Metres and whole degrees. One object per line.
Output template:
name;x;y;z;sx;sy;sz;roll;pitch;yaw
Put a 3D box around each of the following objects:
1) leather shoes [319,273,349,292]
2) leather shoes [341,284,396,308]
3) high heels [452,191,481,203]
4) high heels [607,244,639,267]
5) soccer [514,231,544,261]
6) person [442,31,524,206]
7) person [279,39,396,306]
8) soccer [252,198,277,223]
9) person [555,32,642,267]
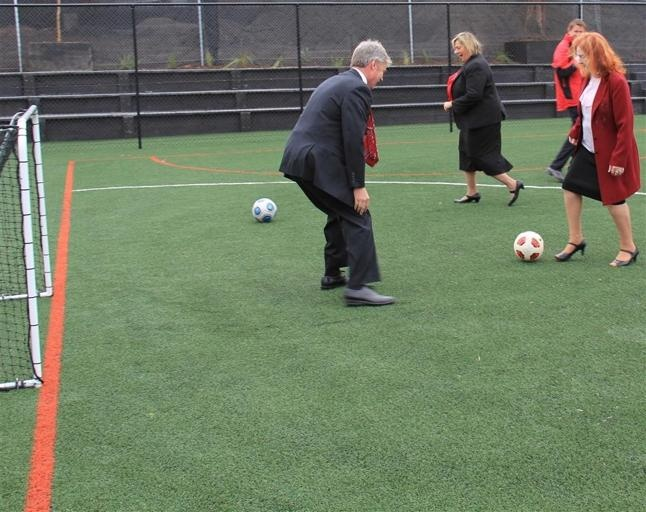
leather shoes;0.073;0.190;4.368;0.260;0.087;0.088;-9;13;-32
leather shoes;0.299;0.284;3.954;0.372;0.131;0.120;-1;-3;1
high heels;1.769;-0.718;7.287;0.302;0.098;0.130;3;5;4
high heels;2.363;0.007;4.619;0.328;0.125;0.110;-6;5;-29
soccer;1.683;-0.078;4.862;0.210;0.241;0.187;-1;8;16
person;1.896;-1.607;7.029;0.832;2.025;0.539;-1;8;14
person;0.129;-0.555;4.008;0.664;1.757;0.527;2;9;32
soccer;-0.640;-0.517;6.661;0.303;0.259;0.274;-9;7;-29
person;2.122;-0.814;4.576;0.420;1.744;0.564;-7;9;-26
